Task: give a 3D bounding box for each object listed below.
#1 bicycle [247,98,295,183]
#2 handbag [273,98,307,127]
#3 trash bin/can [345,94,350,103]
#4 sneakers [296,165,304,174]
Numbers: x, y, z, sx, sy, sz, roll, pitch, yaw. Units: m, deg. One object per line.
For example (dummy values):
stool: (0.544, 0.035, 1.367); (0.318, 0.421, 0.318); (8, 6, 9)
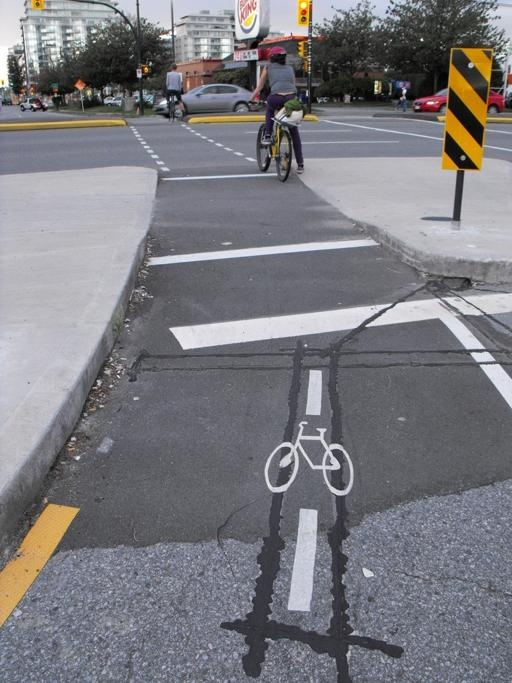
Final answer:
bicycle: (0.319, -3.601, 10.445); (0.847, 1.101, 1.859); (-3, 30, -11)
handbag: (0.554, -3.834, 9.468); (0.473, 0.423, 0.376); (-1, 23, 1)
trash bin/can: (10.472, -27.872, 64.855); (0.704, 0.848, 1.700); (2, 25, 8)
sneakers: (0.813, -3.169, 10.406); (0.083, 0.112, 0.255); (0, 32, 2)
